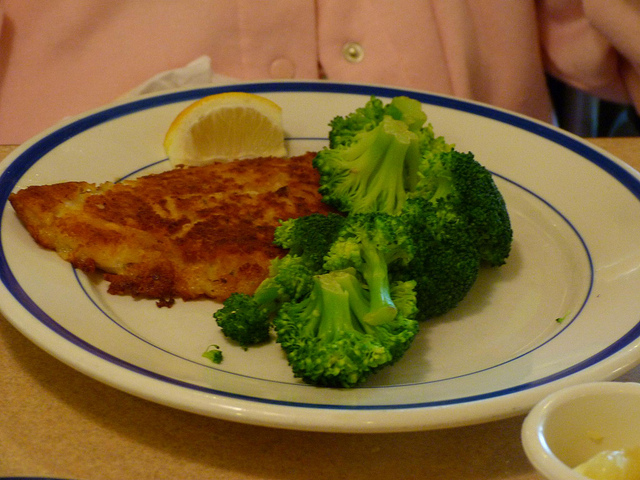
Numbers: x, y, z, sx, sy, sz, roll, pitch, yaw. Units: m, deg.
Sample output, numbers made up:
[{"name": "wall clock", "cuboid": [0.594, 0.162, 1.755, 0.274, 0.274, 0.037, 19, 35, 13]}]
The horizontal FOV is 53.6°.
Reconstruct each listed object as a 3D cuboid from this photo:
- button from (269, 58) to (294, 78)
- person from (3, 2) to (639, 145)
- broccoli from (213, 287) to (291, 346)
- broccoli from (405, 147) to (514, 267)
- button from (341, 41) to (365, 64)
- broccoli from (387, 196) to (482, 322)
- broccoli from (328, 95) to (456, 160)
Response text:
[{"name": "button", "cuboid": [-0.179, -0.792, 2.927, 0.110, 0.049, 0.104, -12, 65, 1]}, {"name": "person", "cuboid": [-0.032, -0.841, 3.009, 2.410, 0.236, 0.955, 0, 53, -5]}, {"name": "broccoli", "cuboid": [-0.106, 0.185, 1.592, 0.308, 0.167, 0.103, -7, 90, -9]}, {"name": "broccoli", "cuboid": [0.380, -0.081, 1.749, 0.189, 0.298, 0.338, -42, 76, 27]}, {"name": "button", "cuboid": [0.158, -0.857, 2.888, 0.100, 0.066, 0.096, -7, 66, 4]}, {"name": "broccoli", "cuboid": [0.272, 0.046, 1.692, 0.319, 0.142, 0.267, 4, 67, -21]}, {"name": "broccoli", "cuboid": [0.232, -0.345, 1.927, 0.303, 0.102, 0.283, -36, 61, -21]}]
